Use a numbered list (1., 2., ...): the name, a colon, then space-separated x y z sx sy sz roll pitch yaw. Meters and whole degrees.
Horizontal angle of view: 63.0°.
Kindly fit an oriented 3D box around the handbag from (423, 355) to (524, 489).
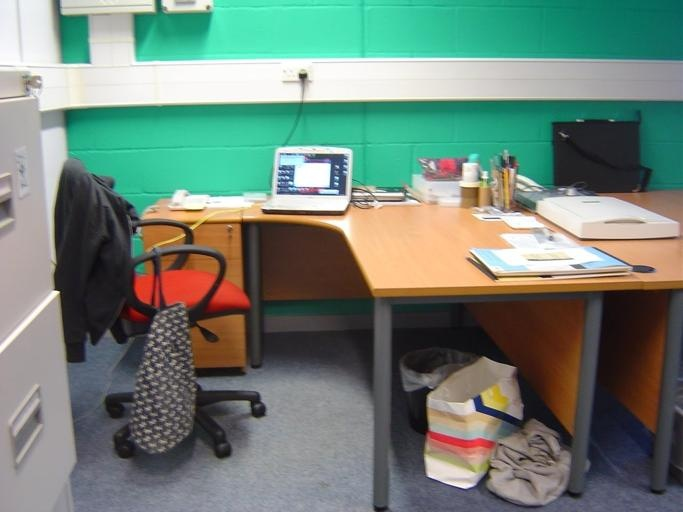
1. handbag: 0.497 0.645 2.097 0.237 0.282 0.415 15 21 43

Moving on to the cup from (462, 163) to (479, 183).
1. cup: 0.623 -0.401 2.696 0.098 0.096 0.092 -1 8 0

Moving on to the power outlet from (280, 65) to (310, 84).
1. power outlet: -0.253 -0.973 2.969 0.169 0.094 0.036 0 1 4

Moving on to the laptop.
1. laptop: -0.163 -0.378 2.777 0.439 0.264 0.389 2 23 3

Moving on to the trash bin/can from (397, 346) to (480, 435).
1. trash bin/can: 0.368 0.552 2.402 0.364 0.310 0.355 0 17 1

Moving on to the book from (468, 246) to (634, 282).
1. book: 0.710 0.008 1.932 0.495 0.035 0.297 -1 19 -3

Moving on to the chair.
1. chair: -0.722 0.200 2.333 0.906 1.020 0.692 0 6 -29

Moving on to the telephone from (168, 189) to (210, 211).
1. telephone: -0.789 -0.276 2.841 0.147 0.048 0.172 0 20 -7
